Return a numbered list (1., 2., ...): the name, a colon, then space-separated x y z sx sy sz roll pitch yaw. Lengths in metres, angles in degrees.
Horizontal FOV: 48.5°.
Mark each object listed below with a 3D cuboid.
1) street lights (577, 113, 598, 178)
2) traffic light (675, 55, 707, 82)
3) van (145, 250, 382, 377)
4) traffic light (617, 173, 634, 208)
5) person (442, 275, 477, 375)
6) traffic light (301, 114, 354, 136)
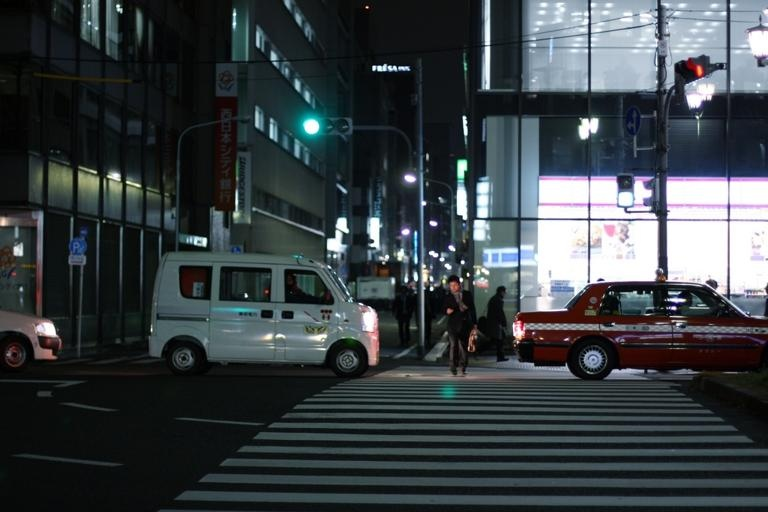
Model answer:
1. street lights: 7.824 -4.173 32.587 0.787 2.249 0.353 1 6 12
2. traffic light: 8.116 -4.896 22.312 0.849 0.683 0.542 2 7 16
3. van: -2.900 1.542 22.482 5.715 3.139 2.973 0 -4 2
4. traffic light: 7.172 -1.906 25.303 0.766 0.950 0.383 -4 8 -35
5. person: 1.962 1.806 21.986 0.526 2.626 0.917 4 7 32
6. traffic light: -1.813 -4.119 27.108 1.633 0.502 1.242 -2 7 -22
